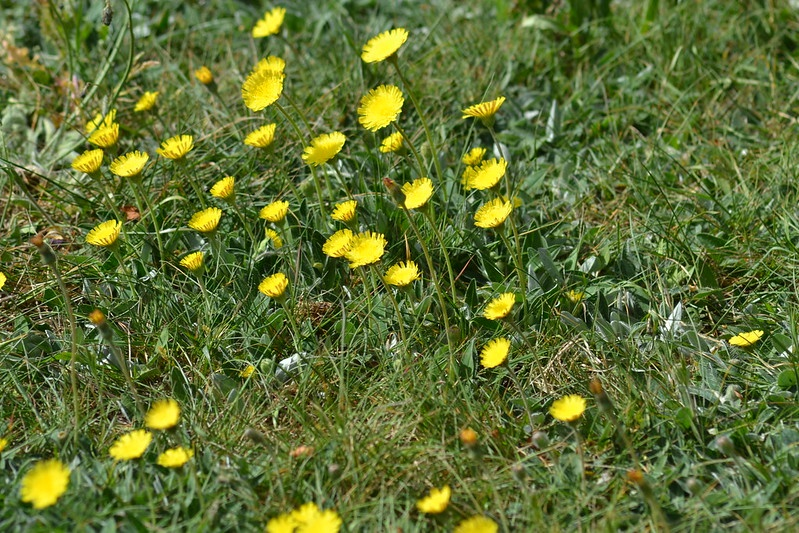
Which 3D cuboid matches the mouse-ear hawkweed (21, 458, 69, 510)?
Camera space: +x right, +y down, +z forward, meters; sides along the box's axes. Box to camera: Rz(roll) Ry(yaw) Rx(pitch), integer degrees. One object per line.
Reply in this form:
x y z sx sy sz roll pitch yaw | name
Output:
-0.941 0.581 1.995 0.130 0.082 0.111 -11 80 -5 | mouse-ear hawkweed
